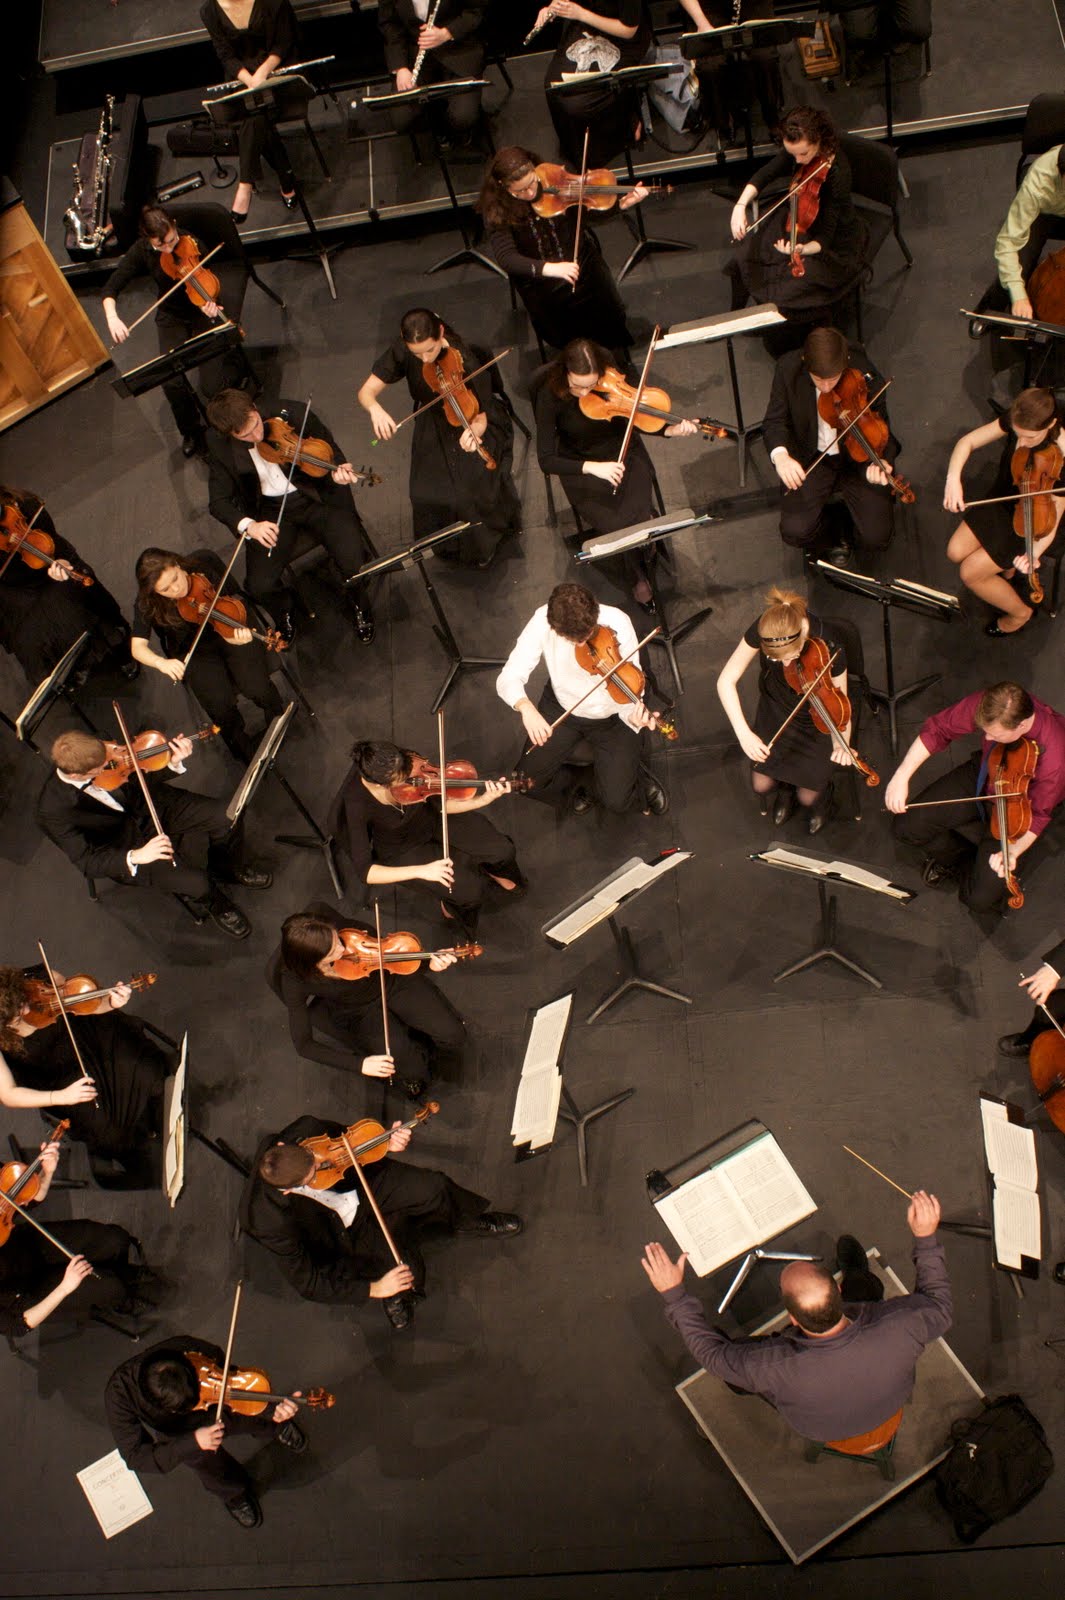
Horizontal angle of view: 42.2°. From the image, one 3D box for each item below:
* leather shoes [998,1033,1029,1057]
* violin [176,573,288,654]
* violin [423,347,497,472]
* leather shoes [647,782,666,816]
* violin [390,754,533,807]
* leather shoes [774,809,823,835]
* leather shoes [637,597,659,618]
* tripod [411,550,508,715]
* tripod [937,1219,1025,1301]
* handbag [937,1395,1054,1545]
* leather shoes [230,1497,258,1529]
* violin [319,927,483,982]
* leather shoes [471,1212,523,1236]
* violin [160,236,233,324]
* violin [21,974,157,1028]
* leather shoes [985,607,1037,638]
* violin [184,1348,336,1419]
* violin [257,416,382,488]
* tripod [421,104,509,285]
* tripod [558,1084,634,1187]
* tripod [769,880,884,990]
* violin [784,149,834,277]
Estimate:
[{"bbox_3d":[1.906,0.989,5.506,0.143,0.096,0.047,-3,60,23],"label":"leather shoes"},{"bbox_3d":[-1.464,-0.879,6.563,0.654,0.256,0.130,30,10,-49],"label":"violin"},{"bbox_3d":[-0.352,-1.940,6.790,0.218,0.604,0.160,-18,17,30],"label":"violin"},{"bbox_3d":[0.555,-0.001,6.396,0.069,0.159,0.069,-11,13,17],"label":"leather shoes"},{"bbox_3d":[-0.307,-0.073,5.741,0.548,0.215,0.157,2,16,-21],"label":"violin"},{"bbox_3d":[1.164,0.110,6.254,0.254,0.082,0.176,-2,4,25],"label":"leather shoes"},{"bbox_3d":[0.576,-0.963,6.935,0.080,0.110,0.107,-14,-6,7],"label":"leather shoes"},{"bbox_3d":[-0.375,-0.822,7.063,0.515,0.648,0.528,-14,52,25],"label":"tripod"},{"bbox_3d":[1.666,1.695,5.050,0.323,0.308,0.193,17,-20,-35],"label":"tripod"},{"bbox_3d":[1.538,2.242,4.632,0.434,0.343,0.102,-33,-15,2],"label":"handbag"},{"bbox_3d":[-1.079,2.657,5.130,0.080,0.135,0.057,-12,-2,-30],"label":"leather shoes"},{"bbox_3d":[-0.533,0.623,5.559,0.654,0.235,0.133,-1,14,-14],"label":"violin"},{"bbox_3d":[-0.146,1.705,5.534,0.230,0.076,0.088,0,3,2],"label":"leather shoes"},{"bbox_3d":[-1.796,-2.785,7.417,0.228,0.515,0.135,-36,24,10],"label":"violin"},{"bbox_3d":[-1.818,0.812,5.632,0.478,0.188,0.114,-4,-14,-15],"label":"violin"},{"bbox_3d":[2.194,-0.832,6.384,0.222,0.096,0.224,2,2,23],"label":"leather shoes"},{"bbox_3d":[-0.889,2.114,4.904,0.652,0.250,0.201,2,3,-10],"label":"violin"},{"bbox_3d":[-1.082,-1.692,6.792,0.637,0.248,0.103,12,25,-37],"label":"violin"},{"bbox_3d":[-0.476,-3.665,8.265,0.525,0.882,0.504,-6,18,21],"label":"tripod"},{"bbox_3d":[0.216,1.361,5.738,0.260,0.257,0.408,4,30,43],"label":"tripod"},{"bbox_3d":[1.215,0.553,5.972,0.443,0.453,0.573,-9,27,12],"label":"tripod"},{"bbox_3d":[1.286,-2.810,6.604,0.107,0.136,0.531,-49,-8,-23],"label":"violin"}]
